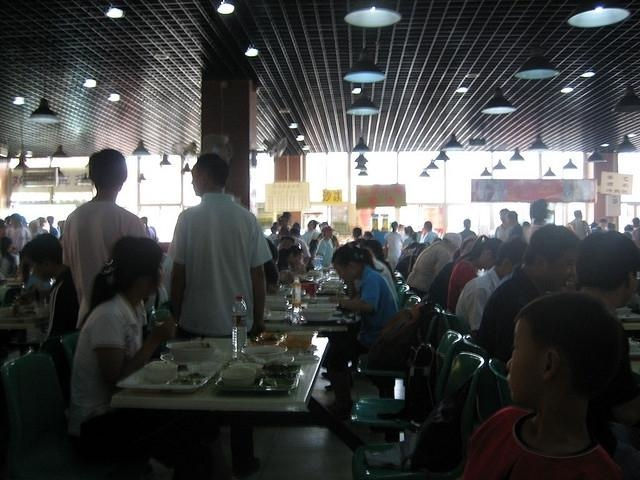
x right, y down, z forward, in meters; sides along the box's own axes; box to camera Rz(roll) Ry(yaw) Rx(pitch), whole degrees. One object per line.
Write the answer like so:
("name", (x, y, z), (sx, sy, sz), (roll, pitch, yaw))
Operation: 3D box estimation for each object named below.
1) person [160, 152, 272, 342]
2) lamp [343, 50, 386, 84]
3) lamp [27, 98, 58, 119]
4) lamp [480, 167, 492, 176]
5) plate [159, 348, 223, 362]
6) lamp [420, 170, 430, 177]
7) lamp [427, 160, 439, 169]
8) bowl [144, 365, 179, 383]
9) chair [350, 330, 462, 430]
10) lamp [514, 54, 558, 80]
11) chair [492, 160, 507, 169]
("person", (-0.652, 0.297, 3.323), (0.655, 1.593, 0.475), (3, 12, -15))
("lamp", (0.508, -1.961, 5.836), (0.521, 0.341, 0.535), (4, 7, 26))
("lamp", (-4.150, -1.965, 7.682), (0.328, 0.365, 0.549), (-2, 4, -30))
("lamp", (5.157, -2.054, 15.901), (0.363, 0.226, 0.357), (1, -1, -29))
("plate", (-0.569, 0.514, 2.279), (0.131, 0.033, 0.130), (0, -7, 10))
("lamp", (3.210, -2.022, 15.703), (0.217, 0.220, 1.221), (1, 4, 15))
("lamp", (3.221, -2.114, 14.738), (0.294, 0.148, 0.317), (-2, 1, 8))
("bowl", (-0.638, 0.528, 2.034), (0.078, 0.031, 0.077), (2, 4, 0))
("chair", (0.462, 0.766, 2.816), (0.528, 0.559, 0.352), (8, 4, 5))
("lamp", (2.381, -1.835, 5.587), (0.352, 0.164, 0.360), (-1, -3, 23))
("chair", (5.447, -2.215, 15.522), (0.334, 0.216, 0.337), (1, 0, 10))
